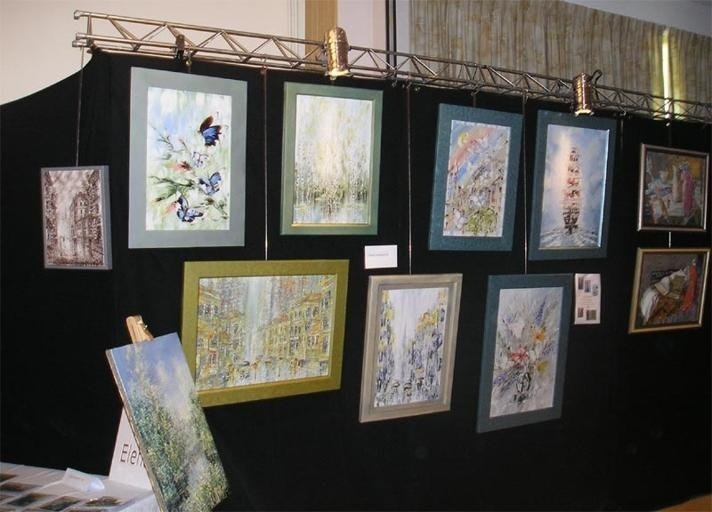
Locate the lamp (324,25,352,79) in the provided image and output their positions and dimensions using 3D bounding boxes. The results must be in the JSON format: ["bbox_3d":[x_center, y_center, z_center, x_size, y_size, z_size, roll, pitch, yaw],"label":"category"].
[{"bbox_3d":[-0.137,-1.470,5.293,0.167,0.340,0.184,-1,7,-2],"label":"lamp"}]
